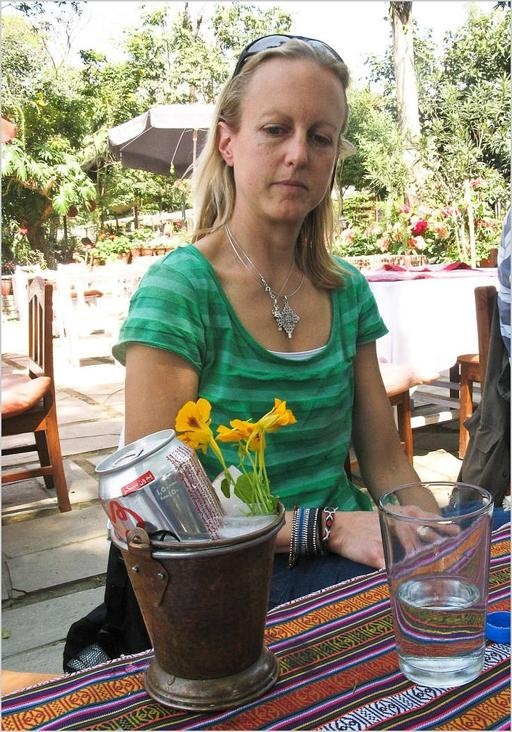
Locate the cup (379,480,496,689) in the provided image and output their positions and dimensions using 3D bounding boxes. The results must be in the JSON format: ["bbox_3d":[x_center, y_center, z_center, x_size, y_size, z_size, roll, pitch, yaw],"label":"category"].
[{"bbox_3d":[0.144,0.171,0.520,0.100,0.141,0.094,0,7,0],"label":"cup"}]

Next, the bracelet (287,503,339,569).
[{"bbox_3d":[0.072,0.233,0.842,0.062,0.072,0.028,5,8,10],"label":"bracelet"}]

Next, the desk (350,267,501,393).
[{"bbox_3d":[0.880,-0.204,3.013,0.784,0.525,0.680,1,10,20],"label":"desk"}]

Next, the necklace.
[{"bbox_3d":[0.025,-0.148,1.063,0.122,0.167,0.165,-7,12,-20],"label":"necklace"}]

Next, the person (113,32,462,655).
[{"bbox_3d":[0.060,-0.101,1.075,0.486,0.984,0.486,-2,2,-22],"label":"person"}]
